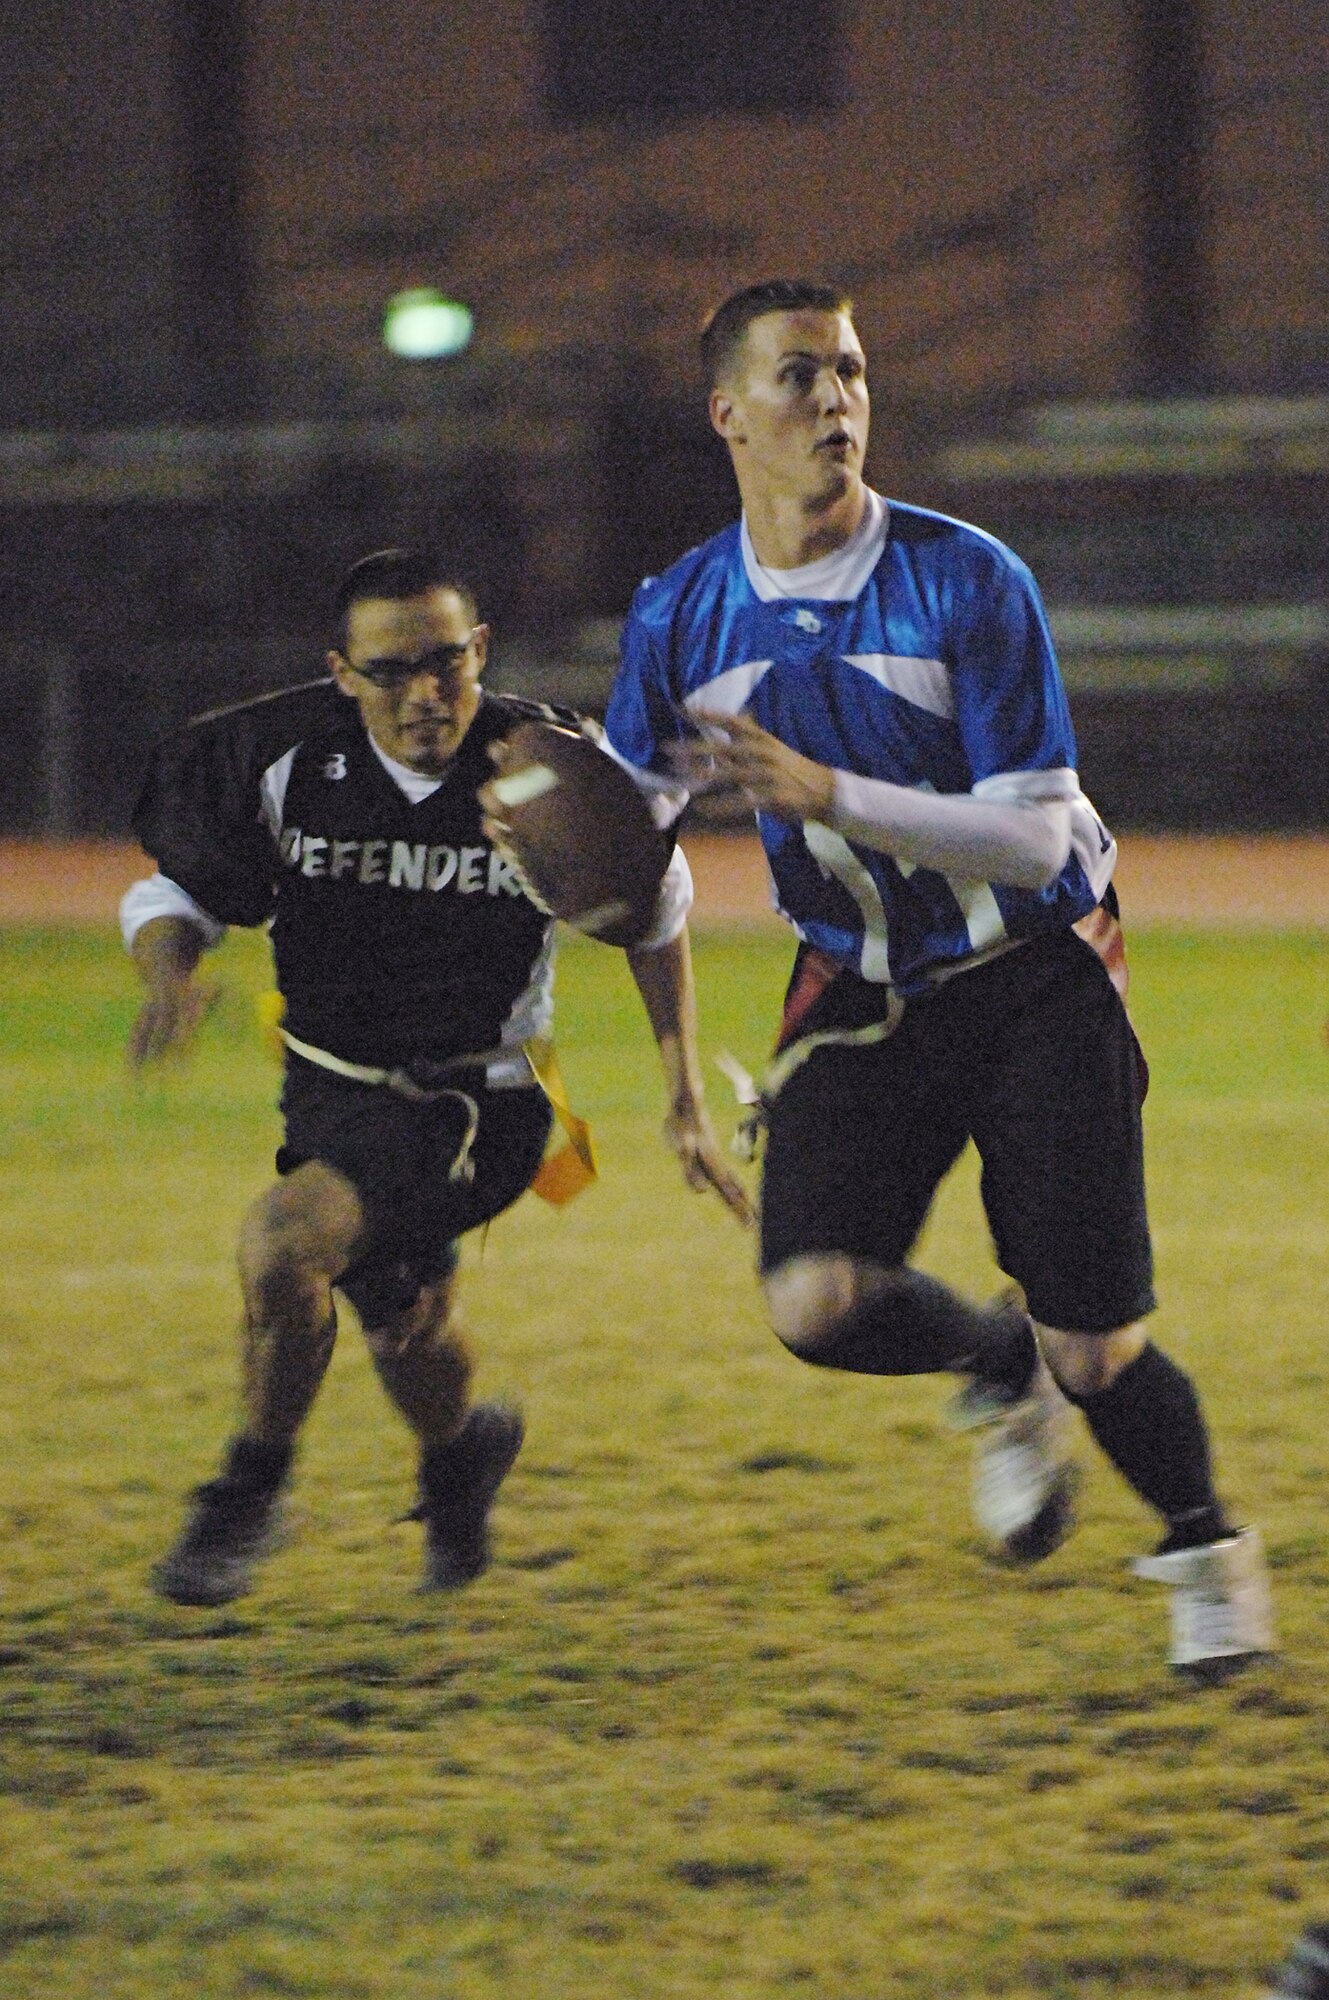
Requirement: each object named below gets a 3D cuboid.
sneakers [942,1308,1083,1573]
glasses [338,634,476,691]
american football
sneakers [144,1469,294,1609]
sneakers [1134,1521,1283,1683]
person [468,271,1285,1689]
[{"bbox_3d":[0.433,0.559,3.763,0.198,0.345,0.136,5,-11,-23],"label":"sneakers"},{"bbox_3d":[-0.305,-0.401,3.508,0.146,0.055,0.060,-2,9,-5],"label":"glasses"},{"bbox_3d":[-0.090,-0.194,3.484,0.084,0.247,0.200,-32,19,4],"label":"american football"},{"bbox_3d":[-0.526,0.639,3.417,0.140,0.171,0.057,20,12,-21],"label":"sneakers"},{"bbox_3d":[0.634,0.682,3.301,0.195,0.151,0.165,-4,-1,15],"label":"sneakers"},{"bbox_3d":[0.329,-0.031,3.398,0.762,1.608,0.584,-2,10,-1],"label":"person"}]
